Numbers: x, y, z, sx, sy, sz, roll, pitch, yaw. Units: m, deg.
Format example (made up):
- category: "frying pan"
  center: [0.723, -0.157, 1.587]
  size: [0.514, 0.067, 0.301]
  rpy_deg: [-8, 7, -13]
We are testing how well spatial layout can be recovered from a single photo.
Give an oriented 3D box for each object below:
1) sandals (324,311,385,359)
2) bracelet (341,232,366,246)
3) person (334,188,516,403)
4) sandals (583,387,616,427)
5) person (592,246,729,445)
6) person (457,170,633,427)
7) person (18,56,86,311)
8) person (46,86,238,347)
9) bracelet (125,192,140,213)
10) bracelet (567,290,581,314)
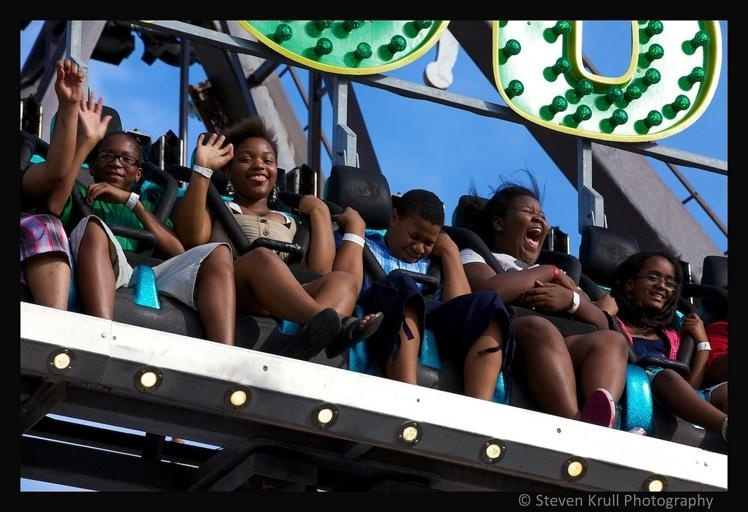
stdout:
- category: "sandals"
  center: [-0.097, 0.325, 4.730]
  size: [0.314, 0.117, 0.140]
  rpy_deg: [-34, -58, 23]
- category: "bracelet"
  center: [-0.111, -0.085, 5.614]
  size: [0.075, 0.030, 0.075]
  rpy_deg: [20, 2, -22]
- category: "person"
  center: [0.218, 0.151, 5.391]
  size: [0.754, 1.002, 1.110]
  rpy_deg: [-1, 1, -3]
- category: "sandals"
  center: [0.995, 0.660, 4.922]
  size: [0.107, 0.192, 0.044]
  rpy_deg: [-12, -12, 38]
- category: "person"
  center: [1.555, 0.471, 5.777]
  size: [0.510, 0.692, 0.946]
  rpy_deg: [28, -8, -16]
- category: "person"
  center: [0.859, 0.262, 5.659]
  size: [0.624, 0.958, 1.396]
  rpy_deg: [26, -1, -17]
- category: "person"
  center: [-1.402, -0.309, 4.811]
  size: [0.269, 1.052, 0.693]
  rpy_deg: [-1, 1, -17]
- category: "person"
  center: [-1.088, -0.166, 5.056]
  size: [1.016, 1.289, 0.685]
  rpy_deg: [-1, -6, 40]
- category: "bracelet"
  center: [-1.216, -0.265, 5.537]
  size: [0.032, 0.082, 0.058]
  rpy_deg: [27, -28, -30]
- category: "bracelet"
  center: [1.040, 0.245, 5.775]
  size: [0.049, 0.101, 0.075]
  rpy_deg: [6, -8, -9]
